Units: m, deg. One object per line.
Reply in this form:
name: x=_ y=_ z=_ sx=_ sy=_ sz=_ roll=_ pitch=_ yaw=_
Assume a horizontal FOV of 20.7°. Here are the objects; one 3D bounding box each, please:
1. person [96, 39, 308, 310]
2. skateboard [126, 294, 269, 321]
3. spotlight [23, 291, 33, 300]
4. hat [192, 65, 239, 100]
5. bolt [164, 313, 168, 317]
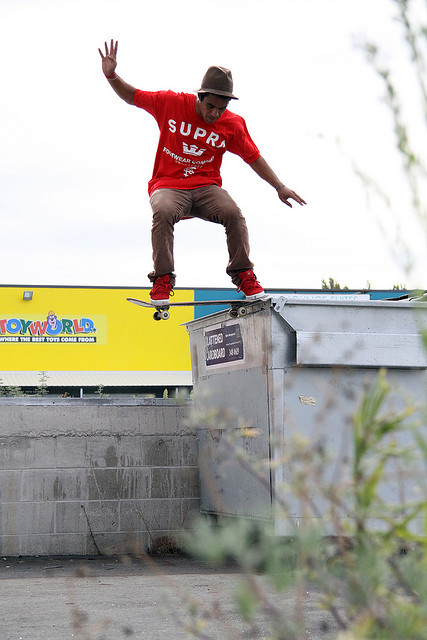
person: x=-0.114 y=-0.905 z=7.397 sx=1.120 sy=1.607 sz=0.796 roll=-3 pitch=20 yaw=-5
skateboard: x=-0.314 y=-0.132 z=13.871 sx=1.960 sy=0.296 sz=0.441 roll=-2 pitch=7 yaw=-8
spotlight: x=-3.847 y=-0.478 z=23.755 sx=0.215 sy=0.192 sz=0.149 roll=2 pitch=-5 yaw=-15
hat: x=0.006 y=-1.434 z=7.044 sx=0.214 sy=0.189 sz=0.149 roll=-1 pitch=19 yaw=-1
bolt: x=-0.309 y=-0.028 z=7.349 sx=0.022 sy=0.020 sz=0.005 roll=-5 pitch=1 yaw=-21
